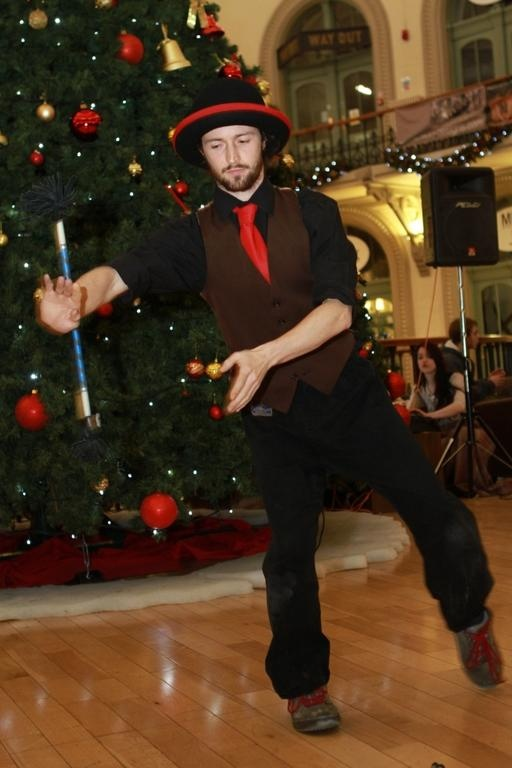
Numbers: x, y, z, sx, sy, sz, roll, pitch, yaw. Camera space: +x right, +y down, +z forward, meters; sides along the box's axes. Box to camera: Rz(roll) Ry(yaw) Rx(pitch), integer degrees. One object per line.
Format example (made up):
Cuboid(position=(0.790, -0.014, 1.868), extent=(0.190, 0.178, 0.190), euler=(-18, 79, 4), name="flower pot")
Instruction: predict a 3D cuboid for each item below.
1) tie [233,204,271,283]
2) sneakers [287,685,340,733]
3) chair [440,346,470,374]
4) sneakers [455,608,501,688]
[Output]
Cuboid(position=(-0.009, -0.281, 1.316), extent=(0.060, 0.160, 0.019), euler=(-17, -6, 2), name="tie")
Cuboid(position=(0.125, 0.692, 1.399), extent=(0.063, 0.059, 0.135), euler=(-3, -16, -10), name="sneakers")
Cuboid(position=(1.658, -0.189, 5.469), extent=(0.116, 0.188, 0.200), euler=(-19, 19, 9), name="chair")
Cuboid(position=(0.544, 0.660, 1.616), extent=(0.086, 0.208, 0.088), euler=(-15, -6, 14), name="sneakers")
